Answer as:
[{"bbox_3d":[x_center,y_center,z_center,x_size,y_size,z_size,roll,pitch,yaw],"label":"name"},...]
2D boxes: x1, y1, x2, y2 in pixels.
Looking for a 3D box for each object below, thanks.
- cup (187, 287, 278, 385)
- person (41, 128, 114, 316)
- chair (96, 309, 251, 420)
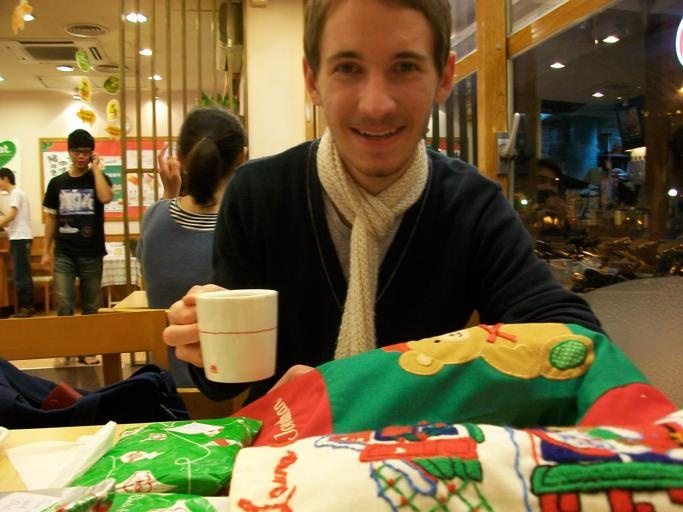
[{"bbox_3d":[-0.174,0.146,1.033,0.182,0.152,0.136,-2,5,1],"label":"cup"},{"bbox_3d":[-2.085,-0.254,4.309,0.470,1.430,0.639,-5,6,-29],"label":"person"},{"bbox_3d":[-0.460,0.273,1.594,0.309,0.501,0.364,2,20,-4],"label":"chair"}]
